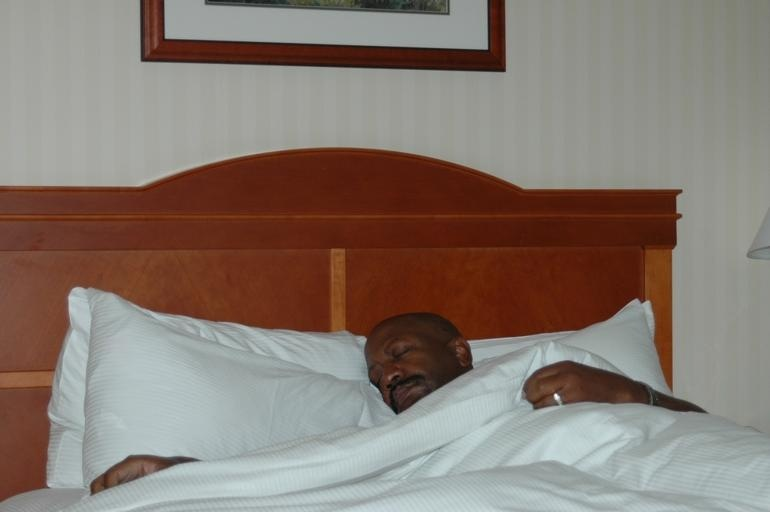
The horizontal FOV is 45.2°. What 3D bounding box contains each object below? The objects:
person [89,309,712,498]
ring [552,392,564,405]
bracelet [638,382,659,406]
[{"bbox_3d":[0.136,0.449,3.149,1.834,0.451,0.579,1,5,-10],"label":"person"},{"bbox_3d":[0.558,0.459,2.979,0.023,0.036,0.033,-21,55,-15],"label":"ring"},{"bbox_3d":[0.885,0.459,3.082,0.068,0.068,0.079,1,5,-7],"label":"bracelet"}]
